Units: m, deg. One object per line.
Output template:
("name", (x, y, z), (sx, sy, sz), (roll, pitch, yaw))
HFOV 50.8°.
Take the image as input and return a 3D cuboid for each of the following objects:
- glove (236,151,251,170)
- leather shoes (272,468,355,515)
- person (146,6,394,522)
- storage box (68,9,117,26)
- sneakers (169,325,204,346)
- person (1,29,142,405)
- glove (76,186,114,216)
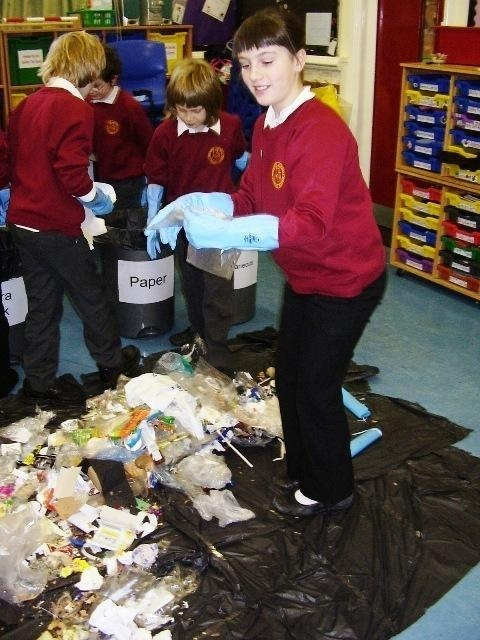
("glove", (0.007, -0.855, 2.743), (0.022, 0.094, 0.091), (43, 5, 9))
("leather shoes", (0.231, 0.565, 1.638), (0.239, 0.092, 0.107), (3, 25, 25))
("person", (0.060, -0.013, 1.334), (0.508, 1.382, 0.525), (15, 27, 30))
("storage box", (-1.189, -2.430, 4.103), (0.245, 0.120, 0.342), (1, 25, -4))
("sneakers", (-0.297, 0.088, 2.778), (0.190, 0.070, 0.093), (-3, 31, -7))
("person", (-0.761, -0.377, 2.155), (0.432, 1.491, 0.404), (4, 24, 9))
("glove", (-0.617, -0.515, 2.103), (0.151, 0.103, 0.142), (-9, -17, -1))
